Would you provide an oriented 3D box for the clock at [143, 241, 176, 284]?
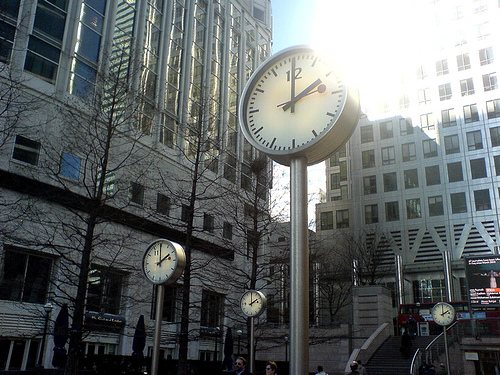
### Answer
[{"bbox_3d":[-2.558,2.121,12.503,1.268,1.220,0.290,-21,-30,40],"label":"clock"}]

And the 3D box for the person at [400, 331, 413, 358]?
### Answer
[{"bbox_3d":[10.777,10.834,30.563,0.755,1.768,1.226,-7,-23,16],"label":"person"}]

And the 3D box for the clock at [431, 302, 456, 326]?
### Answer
[{"bbox_3d":[12.225,8.009,27.822,0.591,1.488,1.407,25,-29,-39],"label":"clock"}]

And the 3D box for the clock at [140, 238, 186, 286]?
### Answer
[{"bbox_3d":[-2.373,2.119,12.613,1.421,1.375,0.746,-18,-28,36],"label":"clock"}]

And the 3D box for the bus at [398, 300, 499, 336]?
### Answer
[{"bbox_3d":[15.452,11.157,39.033,11.399,3.491,3.175,-9,-17,30],"label":"bus"}]

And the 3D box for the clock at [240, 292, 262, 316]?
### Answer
[{"bbox_3d":[0.132,5.566,21.199,1.155,1.232,0.360,-11,-20,28],"label":"clock"}]
